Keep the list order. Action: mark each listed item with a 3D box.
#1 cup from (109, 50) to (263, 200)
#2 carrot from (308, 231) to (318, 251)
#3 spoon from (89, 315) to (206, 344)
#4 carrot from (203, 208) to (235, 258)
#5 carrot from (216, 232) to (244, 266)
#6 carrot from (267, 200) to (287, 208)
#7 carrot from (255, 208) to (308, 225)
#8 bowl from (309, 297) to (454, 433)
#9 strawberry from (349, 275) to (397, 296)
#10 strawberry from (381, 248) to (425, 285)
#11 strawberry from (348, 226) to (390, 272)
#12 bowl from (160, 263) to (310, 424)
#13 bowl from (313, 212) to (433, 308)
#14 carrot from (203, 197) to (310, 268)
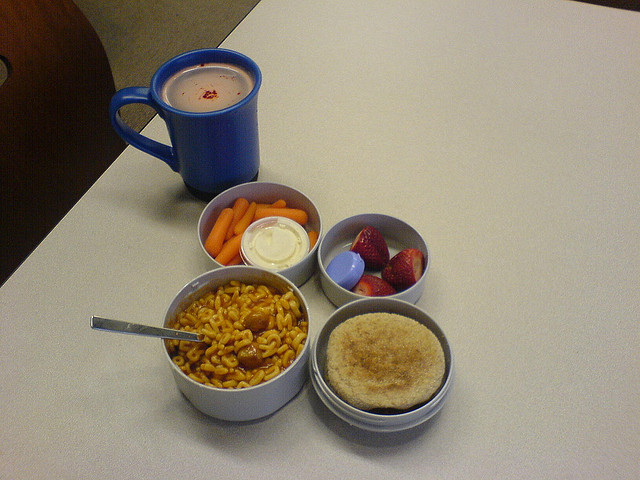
[{"bbox_3d":[-0.344,-0.275,1.501,0.364,0.313,0.255,-17,52,-18],"label":"cup"},{"bbox_3d":[-0.017,0.002,1.465,0.009,0.025,0.042,22,71,-40],"label":"carrot"},{"bbox_3d":[-0.387,0.204,1.296,0.283,0.043,0.024,9,42,-34],"label":"spoon"},{"bbox_3d":[-0.256,-0.022,1.459,0.043,0.044,0.142,21,57,-2],"label":"carrot"},{"bbox_3d":[-0.225,0.024,1.486,0.033,0.034,0.112,31,77,37],"label":"carrot"},{"bbox_3d":[-0.114,-0.094,1.539,0.052,0.016,0.018,-10,58,-7],"label":"carrot"},{"bbox_3d":[-0.101,-0.058,1.549,0.143,0.052,0.053,2,81,3],"label":"carrot"},{"bbox_3d":[0.143,0.288,1.308,0.289,0.078,0.307,-4,31,2],"label":"bowl"},{"bbox_3d":[0.128,0.112,1.382,0.069,0.031,0.055,11,6,-22],"label":"strawberry"},{"bbox_3d":[0.208,0.068,1.425,0.088,0.063,0.075,-15,21,21],"label":"strawberry"},{"bbox_3d":[0.130,0.029,1.451,0.100,0.084,0.078,22,47,10],"label":"strawberry"},{"bbox_3d":[-0.195,0.234,1.307,0.332,0.186,0.307,6,48,-6],"label":"bowl"},{"bbox_3d":[0.131,0.062,1.431,0.283,0.093,0.309,0,39,0],"label":"bowl"},{"bbox_3d":[-0.187,-0.044,1.493,0.202,0.061,0.187,-22,52,-18],"label":"carrot"}]
